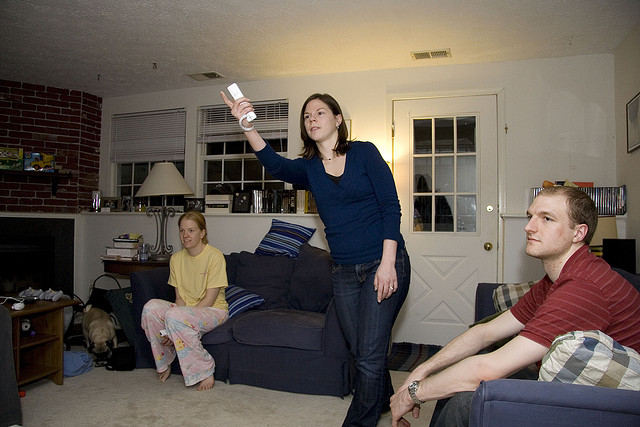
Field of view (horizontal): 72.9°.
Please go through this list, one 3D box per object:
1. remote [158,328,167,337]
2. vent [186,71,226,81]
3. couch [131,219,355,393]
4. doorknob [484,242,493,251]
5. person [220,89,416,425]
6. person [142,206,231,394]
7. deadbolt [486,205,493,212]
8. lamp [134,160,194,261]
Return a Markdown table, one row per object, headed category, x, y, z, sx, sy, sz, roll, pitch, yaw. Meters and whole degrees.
| category | x | y | z | sx | sy | sz | roll | pitch | yaw |
| --- | --- | --- | --- | --- | --- | --- | --- | --- | --- |
| remote | -1.285 | 0.968 | 3.515 | 0.055 | 0.026 | 0.071 | 0 | 3 | -35 |
| vent | -1.304 | -1.570 | 4.945 | 0.399 | 0.062 | 0.208 | 3 | 9 | 17 |
| couch | -0.501 | 0.805 | 4.067 | 1.990 | 1.294 | 1.200 | 0 | -3 | 22 |
| doorknob | 1.742 | 0.345 | 4.473 | 0.081 | 0.084 | 0.030 | -1 | 8 | -5 |
| person | 0.115 | 0.342 | 2.961 | 0.926 | 2.283 | 0.436 | 3 | 9 | 24 |
| person | -1.134 | 0.699 | 3.666 | 0.635 | 1.359 | 0.675 | 2 | 8 | 13 |
| deadbolt | 1.763 | -0.050 | 4.499 | 0.064 | 0.063 | 0.015 | 0 | -10 | 27 |
| lamp | -1.873 | 0.001 | 5.070 | 0.758 | 1.168 | 0.699 | 2 | 0 | 16 |
